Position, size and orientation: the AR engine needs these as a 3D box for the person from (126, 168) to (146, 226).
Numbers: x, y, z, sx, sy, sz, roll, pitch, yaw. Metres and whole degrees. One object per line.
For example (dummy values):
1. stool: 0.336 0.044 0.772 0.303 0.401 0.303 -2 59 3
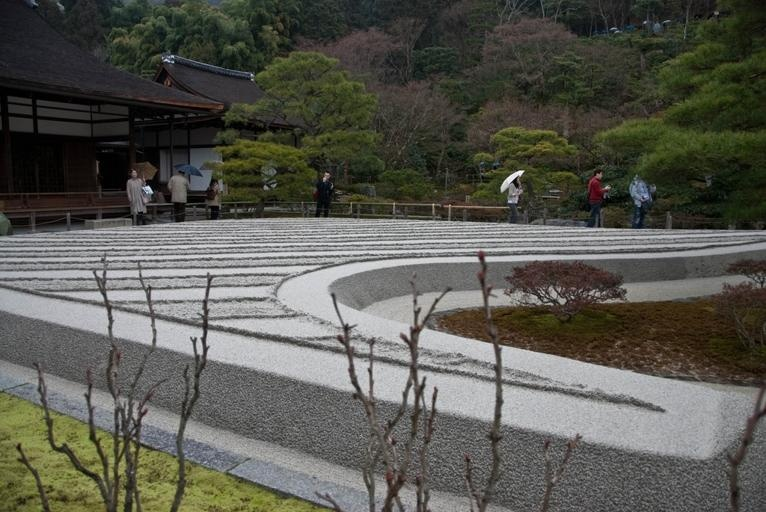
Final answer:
1. person: -5.156 -1.203 13.335 0.307 1.251 1.463 -4 11 -20

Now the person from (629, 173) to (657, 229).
1. person: 4.985 -1.042 12.375 0.439 1.069 0.960 4 11 22

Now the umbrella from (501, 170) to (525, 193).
1. umbrella: 2.769 -1.638 13.913 0.362 0.406 1.274 2 10 12

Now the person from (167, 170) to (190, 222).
1. person: -4.702 -1.371 14.729 0.405 1.170 1.481 -3 10 -18

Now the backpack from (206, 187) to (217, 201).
1. backpack: -3.961 -1.423 14.774 0.196 0.283 0.261 -3 4 -15

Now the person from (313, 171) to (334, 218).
1. person: -1.435 -1.483 15.410 0.348 1.091 0.721 -1 10 -3

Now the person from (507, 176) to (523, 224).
1. person: 3.028 -1.301 14.850 0.431 0.562 1.400 8 -22 14
